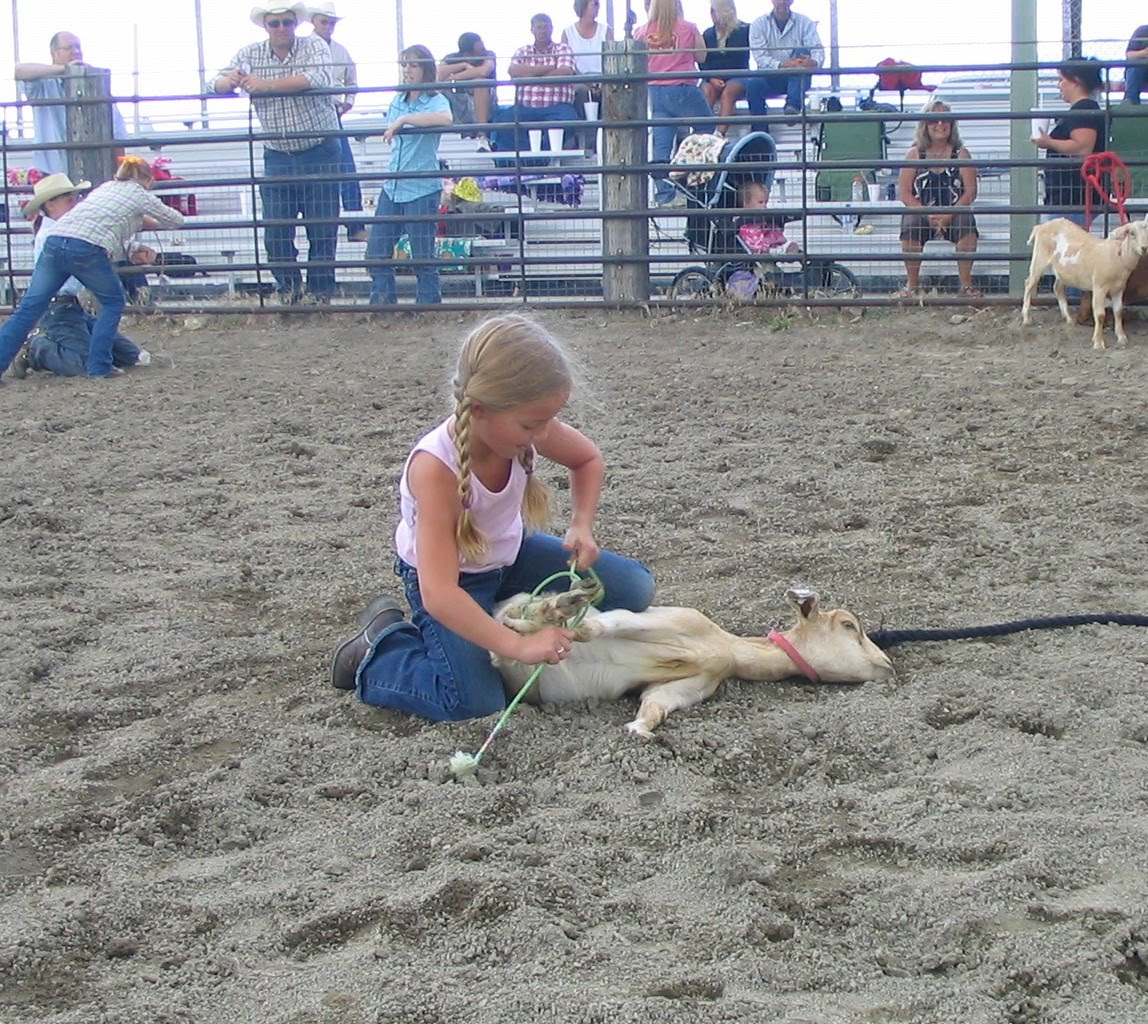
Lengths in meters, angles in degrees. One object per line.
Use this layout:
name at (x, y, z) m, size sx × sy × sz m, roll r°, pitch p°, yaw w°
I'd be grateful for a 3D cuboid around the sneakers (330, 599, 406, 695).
sneakers at (-0.583, 0.364, 4.132) m, size 0.115 × 0.337 × 0.145 m, roll 33°, pitch -36°, yaw -22°

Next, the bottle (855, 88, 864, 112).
bottle at (2.059, -2.921, 10.703) m, size 0.064 × 0.134 × 0.148 m, roll 0°, pitch 11°, yaw 12°

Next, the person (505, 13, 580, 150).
person at (-0.219, -3.155, 11.072) m, size 0.493 × 0.977 × 0.859 m, roll -2°, pitch 11°, yaw 0°

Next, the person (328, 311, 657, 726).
person at (-0.243, -0.045, 4.002) m, size 0.813 × 1.041 × 0.877 m, roll 9°, pitch 27°, yaw 23°

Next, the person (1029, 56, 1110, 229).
person at (3.336, -2.451, 10.032) m, size 0.458 × 1.090 × 0.891 m, roll 2°, pitch 11°, yaw 19°

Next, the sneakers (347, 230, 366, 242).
sneakers at (-1.690, -2.154, 11.757) m, size 0.107 × 0.106 × 0.194 m, roll 1°, pitch -6°, yaw -18°

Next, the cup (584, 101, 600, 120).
cup at (0.157, -2.956, 11.108) m, size 0.134 × 0.146 × 0.133 m, roll 1°, pitch 14°, yaw 0°

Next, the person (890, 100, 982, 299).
person at (2.501, -2.125, 10.313) m, size 0.555 × 1.343 × 1.131 m, roll 1°, pitch 11°, yaw 15°

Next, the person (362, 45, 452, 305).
person at (-1.217, -2.467, 11.186) m, size 0.683 × 1.872 × 0.921 m, roll -12°, pitch 14°, yaw -41°

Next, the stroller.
stroller at (1.341, -2.086, 10.761) m, size 0.784 × 1.229 × 1.482 m, roll -18°, pitch 23°, yaw -41°

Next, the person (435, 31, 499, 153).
person at (-0.773, -3.150, 11.254) m, size 0.419 × 0.914 × 0.563 m, roll -5°, pitch -6°, yaw 6°
